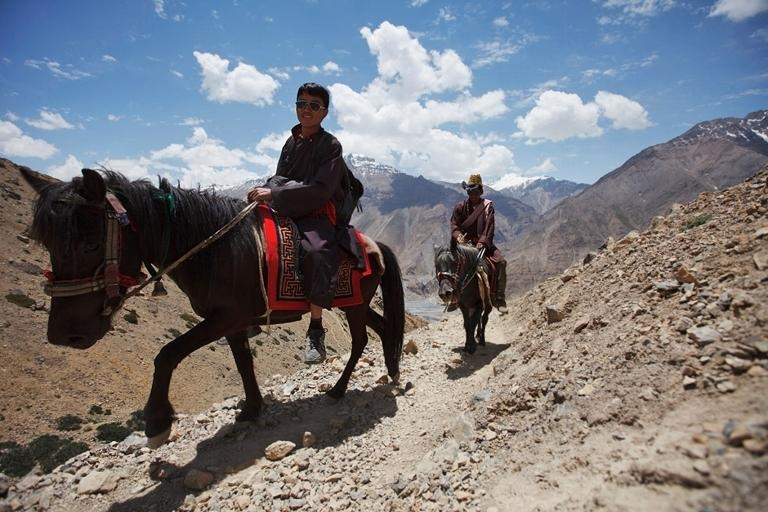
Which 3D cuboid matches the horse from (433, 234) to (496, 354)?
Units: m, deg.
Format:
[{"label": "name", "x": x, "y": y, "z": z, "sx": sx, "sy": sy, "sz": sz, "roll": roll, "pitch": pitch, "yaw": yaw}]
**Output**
[{"label": "horse", "x": 1.766, "y": 0.851, "z": 9.244, "sx": 0.973, "sy": 1.803, "sz": 2.006, "roll": -7, "pitch": -4, "yaw": 19}]
